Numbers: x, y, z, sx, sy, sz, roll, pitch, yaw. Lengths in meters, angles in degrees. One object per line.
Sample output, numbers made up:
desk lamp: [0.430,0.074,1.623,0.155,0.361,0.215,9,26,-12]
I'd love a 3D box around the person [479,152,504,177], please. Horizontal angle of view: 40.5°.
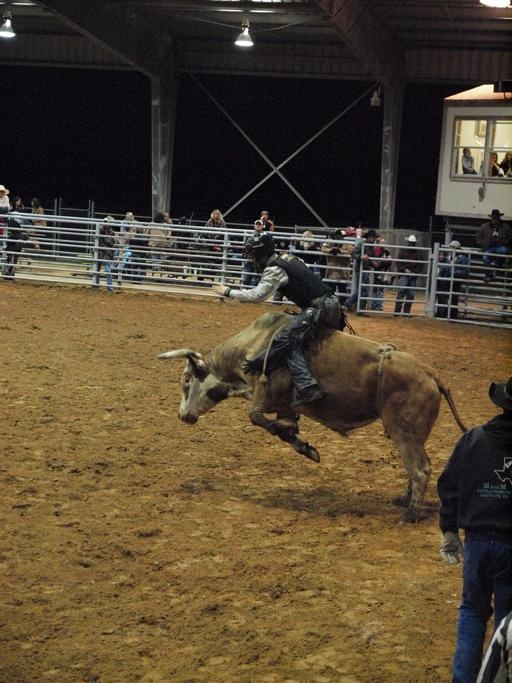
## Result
person: [6.318,-4.533,18.327,0.633,0.748,0.815,0,9,4]

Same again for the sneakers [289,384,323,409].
sneakers: [0.356,0.412,5.082,0.219,0.145,0.154,14,0,10]

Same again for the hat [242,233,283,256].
hat: [0.033,-0.724,5.341,0.238,0.181,0.187,18,23,25]

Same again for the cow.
cow: [0.375,0.490,5.444,2.477,1.314,0.603,6,12,25]

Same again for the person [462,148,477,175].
person: [5.775,-4.894,18.861,0.121,0.712,0.485,-6,16,-40]
